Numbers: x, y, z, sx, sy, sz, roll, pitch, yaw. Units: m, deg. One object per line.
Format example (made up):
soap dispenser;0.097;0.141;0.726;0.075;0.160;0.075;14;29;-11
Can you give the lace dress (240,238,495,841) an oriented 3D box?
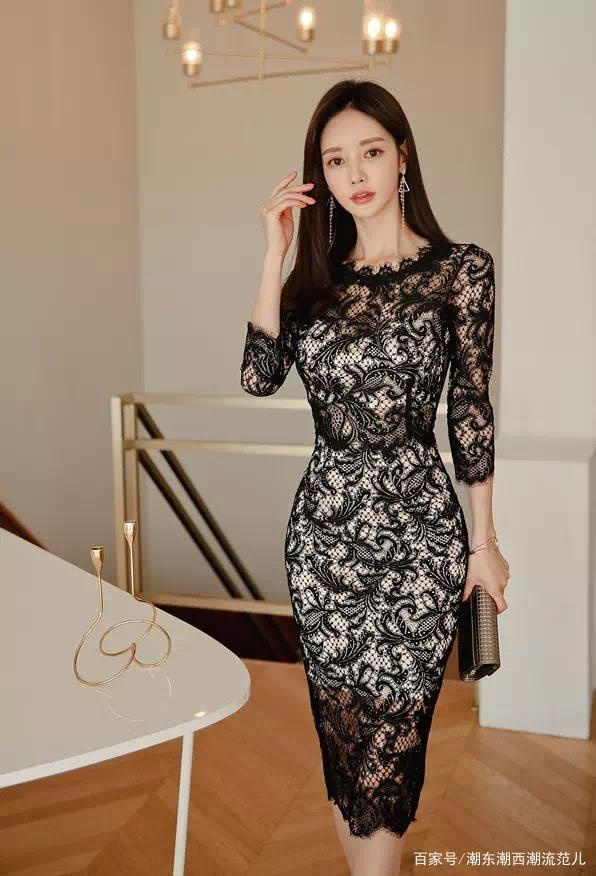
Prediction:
lace dress;0.191;0.166;1.566;0.487;1.075;0.310;-12;8;-25

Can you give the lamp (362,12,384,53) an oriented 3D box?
lamp;0.288;-1.536;2.978;0.086;0.124;0.159;-7;7;10

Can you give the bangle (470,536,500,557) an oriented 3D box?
bangle;0.353;0.204;1.486;0.045;0.013;0.046;-12;1;38
